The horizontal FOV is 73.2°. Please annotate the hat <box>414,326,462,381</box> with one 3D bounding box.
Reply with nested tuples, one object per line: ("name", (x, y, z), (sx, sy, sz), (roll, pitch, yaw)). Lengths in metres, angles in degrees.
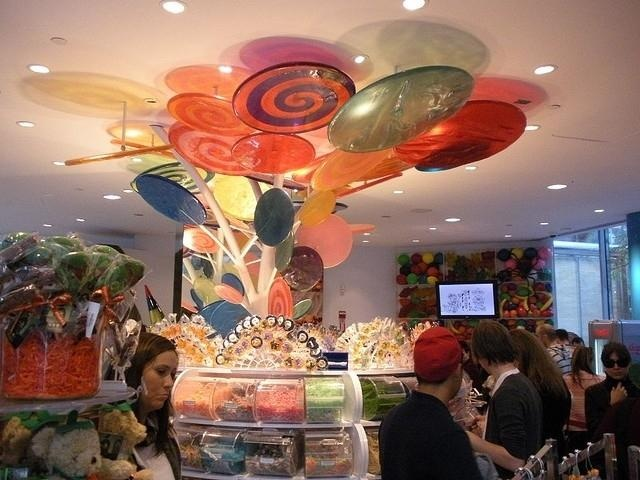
("hat", (0.521, 0.497, 1.881), (0.189, 0.230, 0.121), (3, -45, 25))
